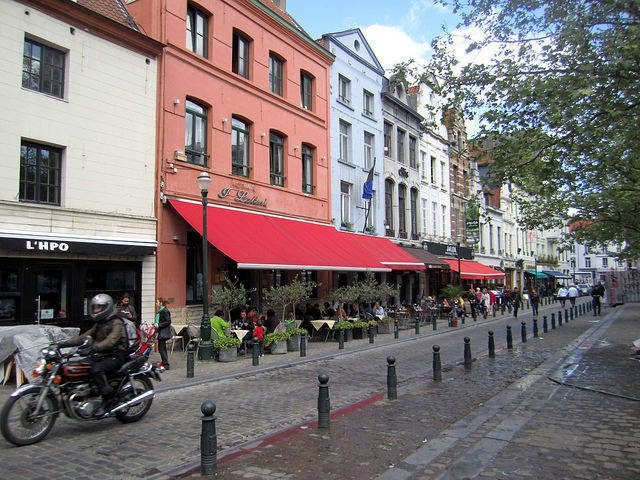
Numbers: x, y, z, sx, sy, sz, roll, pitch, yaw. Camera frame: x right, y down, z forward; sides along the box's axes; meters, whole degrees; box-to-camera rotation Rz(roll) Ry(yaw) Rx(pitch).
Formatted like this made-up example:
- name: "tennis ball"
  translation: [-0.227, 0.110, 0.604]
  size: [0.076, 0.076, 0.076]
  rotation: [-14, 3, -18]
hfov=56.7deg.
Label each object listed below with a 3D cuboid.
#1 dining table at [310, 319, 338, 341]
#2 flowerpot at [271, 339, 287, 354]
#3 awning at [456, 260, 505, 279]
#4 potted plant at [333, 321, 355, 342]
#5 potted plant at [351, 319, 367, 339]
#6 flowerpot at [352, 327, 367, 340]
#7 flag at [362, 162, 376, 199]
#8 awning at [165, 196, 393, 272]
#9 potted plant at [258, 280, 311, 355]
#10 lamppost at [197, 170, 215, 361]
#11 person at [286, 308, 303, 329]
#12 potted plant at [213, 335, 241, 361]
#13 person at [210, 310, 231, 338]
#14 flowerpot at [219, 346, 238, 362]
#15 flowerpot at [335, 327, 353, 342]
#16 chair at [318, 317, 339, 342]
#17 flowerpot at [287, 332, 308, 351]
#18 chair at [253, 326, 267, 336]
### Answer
- name: "dining table"
  translation: [0.099, 3.308, 22.126]
  size: [0.808, 0.633, 0.831]
  rotation: [0, -1, 12]
- name: "flowerpot"
  translation: [-1.263, 3.383, 19.141]
  size: [0.378, 0.522, 0.520]
  rotation: [-5, -8, 31]
- name: "awning"
  translation: [11.358, 2.066, 41.340]
  size: [1.661, 1.398, 5.086]
  rotation: [2, 4, 31]
- name: "potted plant"
  translation: [0.775, 3.363, 22.008]
  size: [0.681, 0.738, 0.743]
  rotation: [-6, -8, 37]
- name: "potted plant"
  translation: [1.493, 3.366, 22.536]
  size: [0.570, 0.695, 0.675]
  rotation: [-6, -8, 44]
- name: "flowerpot"
  translation: [1.518, 3.659, 22.589]
  size: [0.394, 0.498, 0.735]
  rotation: [2, -1, 33]
- name: "flag"
  translation: [2.480, -2.949, 30.213]
  size: [0.549, 1.684, 1.387]
  rotation: [0, 3, 4]
- name: "awning"
  translation: [-1.706, -0.039, 21.896]
  size: [2.736, 1.646, 6.965]
  rotation: [19, 4, 33]
- name: "potted plant"
  translation: [-1.357, 2.675, 21.134]
  size: [1.716, 2.197, 1.488]
  rotation: [6, -6, 9]
- name: "lamppost"
  translation: [-3.435, 0.784, 17.682]
  size: [0.479, 5.514, 0.937]
  rotation: [-1, 3, -12]
- name: "person"
  translation: [-0.748, 2.961, 22.227]
  size: [0.558, 0.560, 0.971]
  rotation: [1, 0, 8]
- name: "potted plant"
  translation: [-2.775, 3.191, 17.686]
  size: [0.702, 0.635, 0.702]
  rotation: [1, -8, -8]
- name: "person"
  translation: [-3.170, 2.657, 18.798]
  size: [0.481, 1.089, 0.580]
  rotation: [11, 19, 35]
- name: "flowerpot"
  translation: [-2.709, 3.328, 17.494]
  size: [0.428, 0.331, 0.438]
  rotation: [0, -7, -4]
- name: "flowerpot"
  translation: [0.864, 3.500, 22.059]
  size: [0.676, 0.509, 0.878]
  rotation: [0, 3, 8]
- name: "chair"
  translation: [0.213, 3.436, 22.673]
  size: [0.678, 1.209, 0.870]
  rotation: [-4, -18, 22]
- name: "flowerpot"
  translation: [-0.750, 3.271, 19.321]
  size: [0.429, 0.587, 0.805]
  rotation: [1, -1, 26]
- name: "chair"
  translation: [-1.930, 3.067, 19.600]
  size: [0.512, 0.380, 0.265]
  rotation: [4, -13, -23]
